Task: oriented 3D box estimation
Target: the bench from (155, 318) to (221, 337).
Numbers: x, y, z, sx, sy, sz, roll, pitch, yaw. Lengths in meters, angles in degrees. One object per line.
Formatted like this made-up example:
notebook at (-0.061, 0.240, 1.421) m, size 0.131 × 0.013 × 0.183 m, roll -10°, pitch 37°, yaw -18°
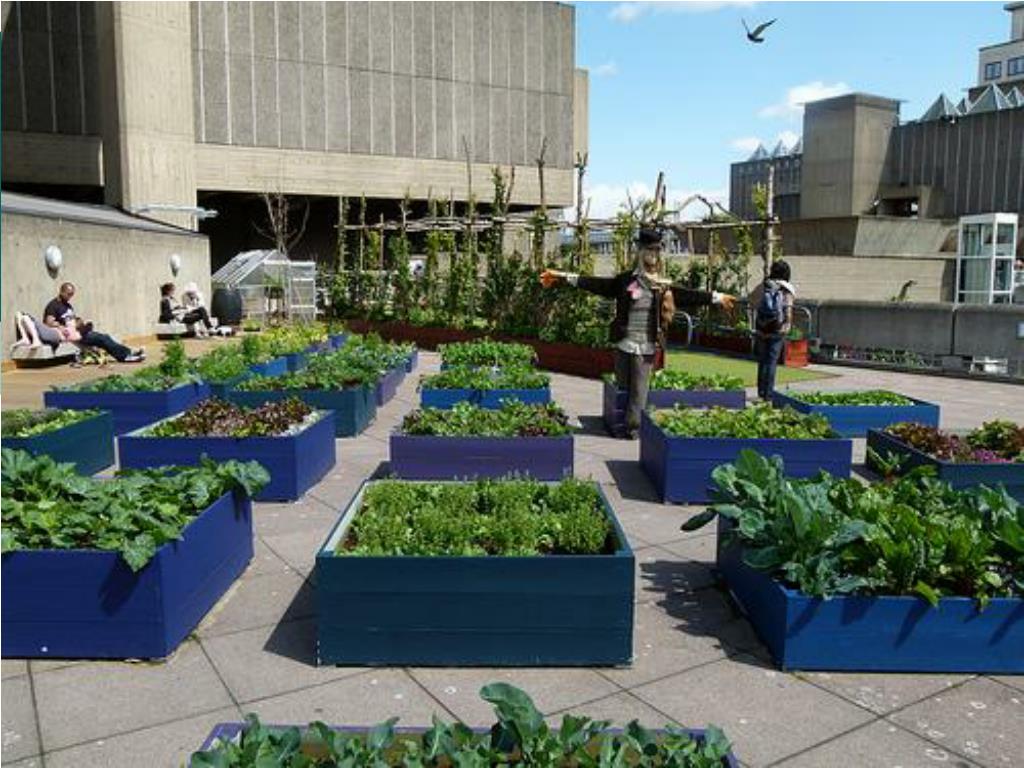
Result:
bench at (-7.457, -1.319, 20.511) m, size 0.802 × 0.426 × 1.457 m, roll 5°, pitch 12°, yaw 20°

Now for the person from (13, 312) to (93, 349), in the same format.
person at (-7.514, -0.872, 14.480) m, size 0.976 × 0.600 × 0.967 m, roll -4°, pitch 12°, yaw -26°

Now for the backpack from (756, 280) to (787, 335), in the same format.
backpack at (3.607, -1.079, 12.550) m, size 0.384 × 0.677 × 0.369 m, roll 6°, pitch 17°, yaw 6°

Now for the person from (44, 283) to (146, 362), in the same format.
person at (-6.999, -1.035, 15.092) m, size 1.605 × 0.950 × 0.679 m, roll 17°, pitch 12°, yaw -14°

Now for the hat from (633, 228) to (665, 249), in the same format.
hat at (1.559, -1.650, 10.005) m, size 0.275 × 0.219 × 0.410 m, roll 2°, pitch 11°, yaw 7°
